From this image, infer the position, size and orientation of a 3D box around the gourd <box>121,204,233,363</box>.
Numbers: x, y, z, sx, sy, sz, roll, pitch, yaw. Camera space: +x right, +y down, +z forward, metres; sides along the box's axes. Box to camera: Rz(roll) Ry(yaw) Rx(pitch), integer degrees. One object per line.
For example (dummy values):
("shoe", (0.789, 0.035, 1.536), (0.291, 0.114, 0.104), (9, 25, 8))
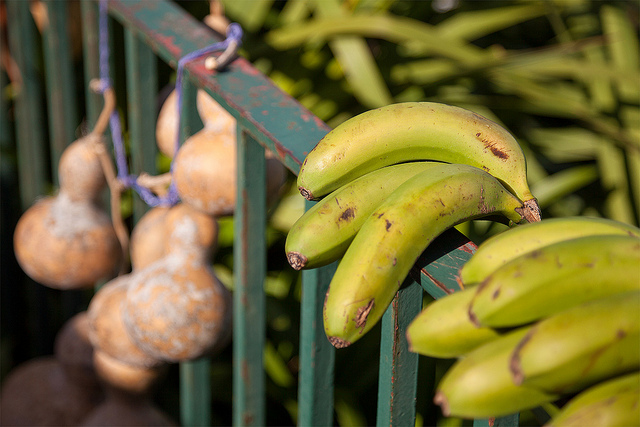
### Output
("gourd", (-0.354, 0.181, 1.904), (0.259, 0.383, 0.246), (-17, 25, -42))

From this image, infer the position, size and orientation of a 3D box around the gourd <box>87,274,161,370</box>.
("gourd", (-0.498, 0.266, 1.931), (0.144, 0.245, 0.160), (-14, 17, -31))

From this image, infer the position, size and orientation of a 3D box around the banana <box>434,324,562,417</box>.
("banana", (0.278, 0.286, 1.397), (0.171, 0.144, 0.261), (2, 12, 4))

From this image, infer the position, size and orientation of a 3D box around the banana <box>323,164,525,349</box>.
("banana", (0.178, 0.053, 1.481), (0.516, 0.143, 0.228), (-39, 63, -22))
